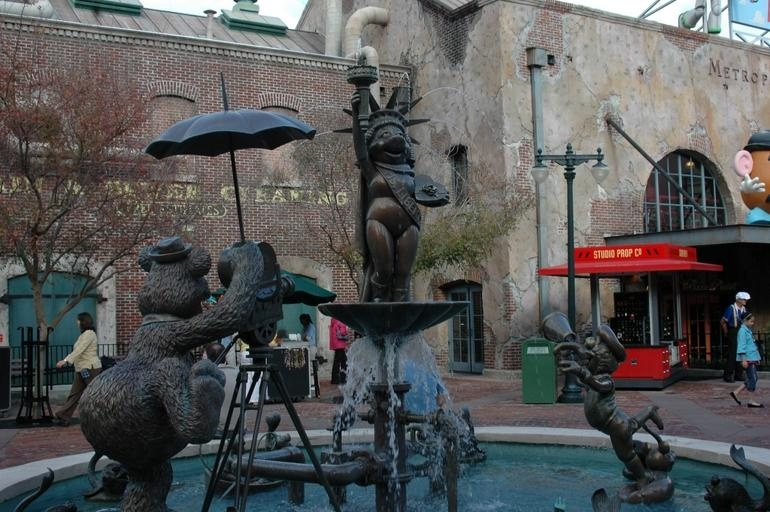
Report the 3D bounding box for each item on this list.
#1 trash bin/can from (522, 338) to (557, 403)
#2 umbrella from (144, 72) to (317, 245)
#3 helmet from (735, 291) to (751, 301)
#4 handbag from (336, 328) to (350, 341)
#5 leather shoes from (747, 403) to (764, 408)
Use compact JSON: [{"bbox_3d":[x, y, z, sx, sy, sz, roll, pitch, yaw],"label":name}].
[{"bbox_3d":[3.575,2.660,20.338,0.792,1.126,0.476,-3,-1,8],"label":"trash bin/can"},{"bbox_3d":[-2.180,-1.405,12.958,2.092,2.145,2.204,-3,1,20],"label":"umbrella"},{"bbox_3d":[9.209,1.038,22.557,0.349,0.163,0.429,1,-12,-38],"label":"helmet"},{"bbox_3d":[-1.203,2.204,24.632,0.300,0.301,0.234,-9,7,-16],"label":"handbag"},{"bbox_3d":[8.036,3.221,18.993,0.229,0.066,0.140,-4,-8,16],"label":"leather shoes"}]
